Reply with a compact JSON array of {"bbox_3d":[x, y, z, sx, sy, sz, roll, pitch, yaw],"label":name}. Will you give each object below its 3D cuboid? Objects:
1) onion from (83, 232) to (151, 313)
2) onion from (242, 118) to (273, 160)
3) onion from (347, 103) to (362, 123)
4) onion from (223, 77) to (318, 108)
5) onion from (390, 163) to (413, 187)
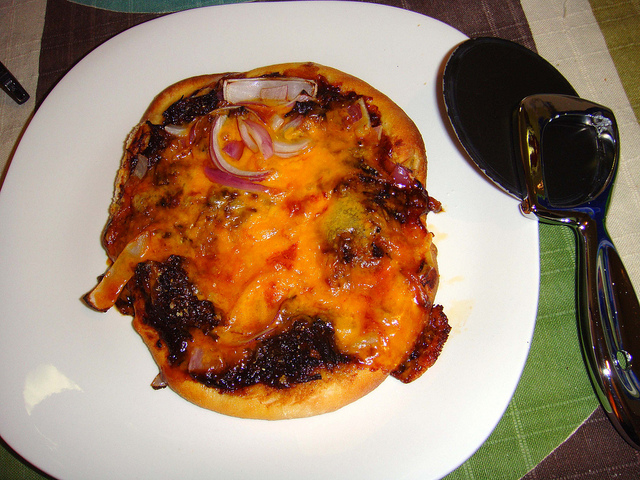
[{"bbox_3d":[-0.868,0.142,2.859,0.111,0.160,0.423,44,84,2],"label":"onion"},{"bbox_3d":[-0.265,-0.421,2.847,0.028,0.082,0.183,-3,52,31],"label":"onion"},{"bbox_3d":[0.162,-0.572,2.949,0.065,0.020,0.065,-37,92,-14],"label":"onion"},{"bbox_3d":[-0.223,-0.664,2.950,0.432,0.085,0.154,-1,85,-3],"label":"onion"},{"bbox_3d":[0.370,-0.278,2.922,0.109,0.031,0.080,41,84,1],"label":"onion"}]
